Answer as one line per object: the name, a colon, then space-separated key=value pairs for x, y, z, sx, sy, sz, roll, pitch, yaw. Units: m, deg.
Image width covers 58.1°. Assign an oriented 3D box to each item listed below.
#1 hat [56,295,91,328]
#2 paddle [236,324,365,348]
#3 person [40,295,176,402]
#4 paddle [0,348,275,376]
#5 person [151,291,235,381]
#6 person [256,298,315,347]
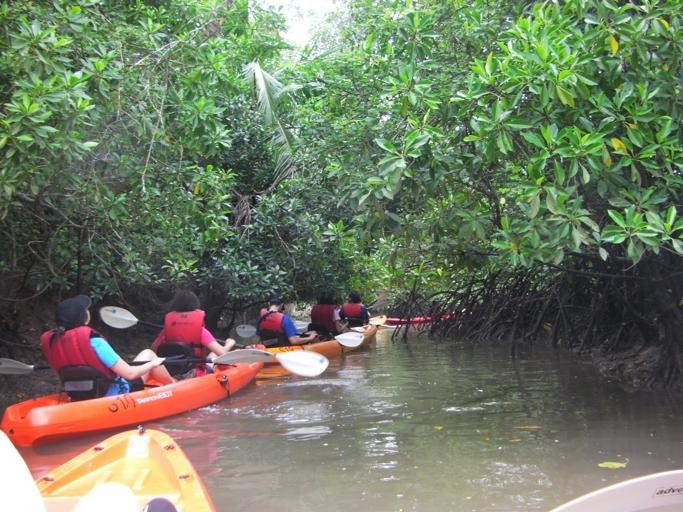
hat: x=-2.848 y=0.578 z=6.549 sx=0.289 sy=0.357 sz=0.191 roll=16 pitch=-24 yaw=12
paddle: x=-0.390 y=1.384 z=10.882 sx=0.751 sy=0.410 sz=3.313 roll=1 pitch=-2 yaw=40
person: x=-2.676 y=1.080 z=6.992 sx=0.928 sy=0.864 sz=1.385 roll=-1 pitch=-3 yaw=14
paddle: x=-2.508 y=1.305 z=7.576 sx=0.648 sy=0.293 sz=2.248 roll=-7 pitch=-11 yaw=43
person: x=-2.090 y=1.052 z=8.283 sx=0.935 sy=0.969 sz=1.292 roll=3 pitch=6 yaw=17
person: x=-1.037 y=1.196 z=11.018 sx=0.798 sy=0.982 sz=1.117 roll=7 pitch=7 yaw=39
